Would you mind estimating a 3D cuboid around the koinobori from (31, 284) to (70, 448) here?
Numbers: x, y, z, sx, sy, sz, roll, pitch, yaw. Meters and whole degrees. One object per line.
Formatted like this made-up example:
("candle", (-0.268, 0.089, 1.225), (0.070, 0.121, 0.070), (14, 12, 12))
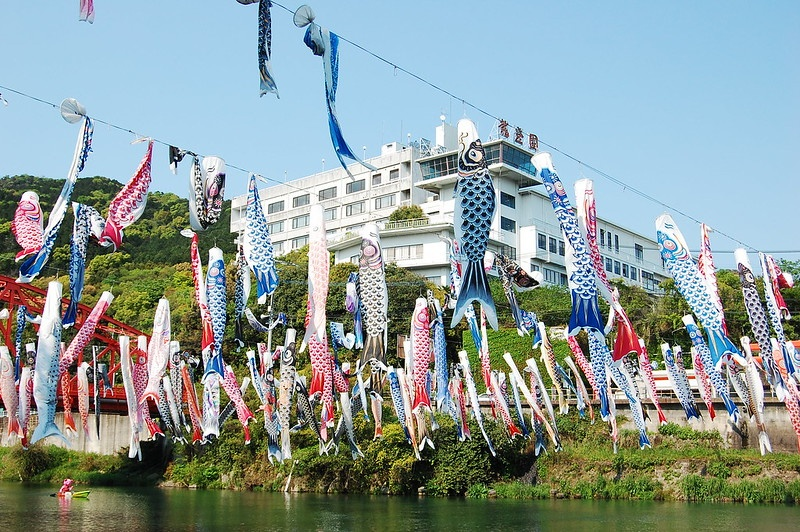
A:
("koinobori", (-12.269, 3.124, 32.623), (0.975, 5.952, 1.525), (5, -22, -20))
